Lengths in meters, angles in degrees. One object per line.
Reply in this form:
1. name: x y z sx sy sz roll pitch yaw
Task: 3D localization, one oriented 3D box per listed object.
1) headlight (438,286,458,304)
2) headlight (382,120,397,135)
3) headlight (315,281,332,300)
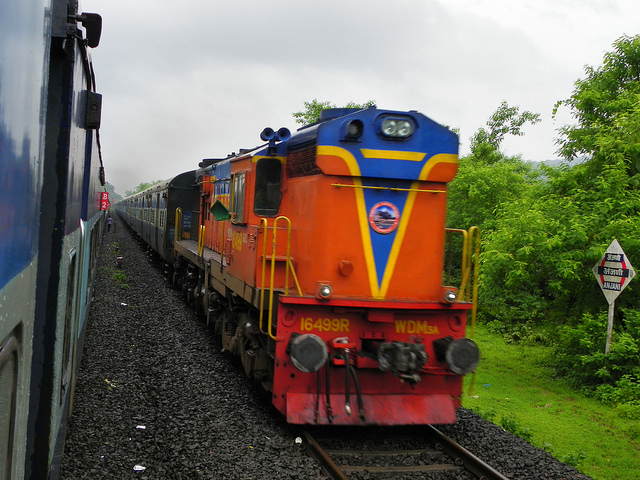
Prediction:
1. headlight: 1.675 0.722 5.955 0.209 0.200 0.226 2 -1 -9
2. headlight: 0.875 -1.444 5.766 0.154 0.182 0.102 6 6 -7
3. headlight: 0.029 0.620 5.579 0.206 0.209 0.205 0 1 -12
